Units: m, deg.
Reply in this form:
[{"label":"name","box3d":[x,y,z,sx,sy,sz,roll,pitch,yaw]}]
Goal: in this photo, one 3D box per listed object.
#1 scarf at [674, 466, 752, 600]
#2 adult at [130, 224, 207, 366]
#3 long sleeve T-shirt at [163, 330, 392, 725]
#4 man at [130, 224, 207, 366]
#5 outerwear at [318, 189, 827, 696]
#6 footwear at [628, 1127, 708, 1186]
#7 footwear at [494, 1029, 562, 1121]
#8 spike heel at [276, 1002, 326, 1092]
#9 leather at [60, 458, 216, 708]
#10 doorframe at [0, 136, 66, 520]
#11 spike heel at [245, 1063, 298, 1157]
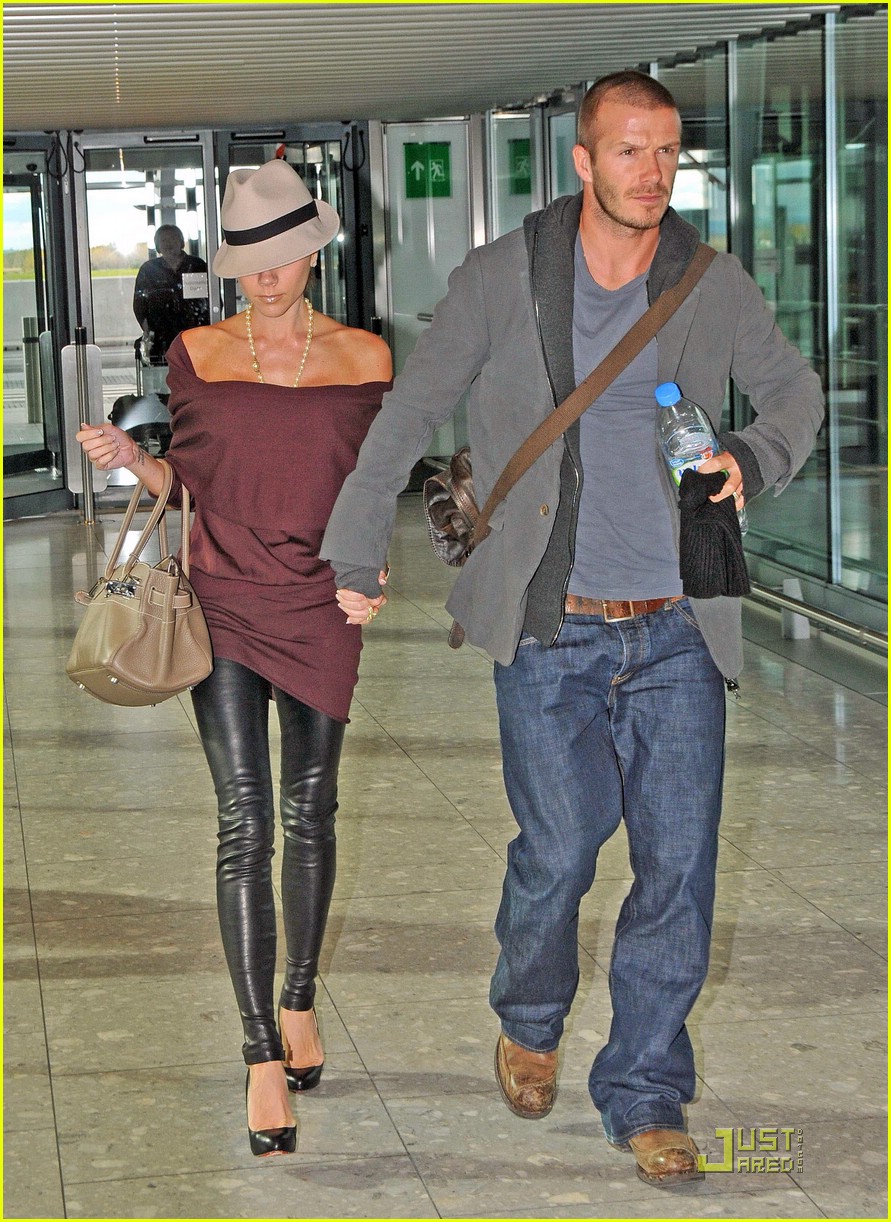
[{"label":"scarf","box3d":[0.405,-0.108,1.523,0.119,0.177,0.057,-4,3,11]},{"label":"adult","box3d":[-3.389,-3.788,12.773,0.959,0.537,2.468,-6,-25,-14]},{"label":"long sleeve T-shirt","box3d":[-0.328,-0.148,2.051,0.439,0.700,0.295,5,16,-1]},{"label":"man","box3d":[-3.420,-3.756,12.741,0.920,0.531,2.353,-6,-28,-17]},{"label":"outerwear","box3d":[0.230,-0.278,1.742,0.820,0.734,0.506,3,21,13]},{"label":"footwear","box3d":[0.363,0.885,1.647,0.068,0.045,0.114,0,14,-8]},{"label":"footwear","box3d":[0.154,0.852,1.917,0.081,0.072,0.183,-1,44,-11]},{"label":"spike heel","box3d":[-0.294,0.899,2.070,0.068,0.176,0.073,-5,-2,-12]},{"label":"leather","box3d":[-0.574,-0.038,1.910,0.253,0.463,0.445,0,-1,-20]},{"label":"doorframe","box3d":[-4.928,-3.495,12.231,0.713,4.330,0.513,0,-1,-20]},{"label":"spike heel","box3d":[-0.330,0.899,1.872,0.099,0.072,0.267,4,3,-11]}]
